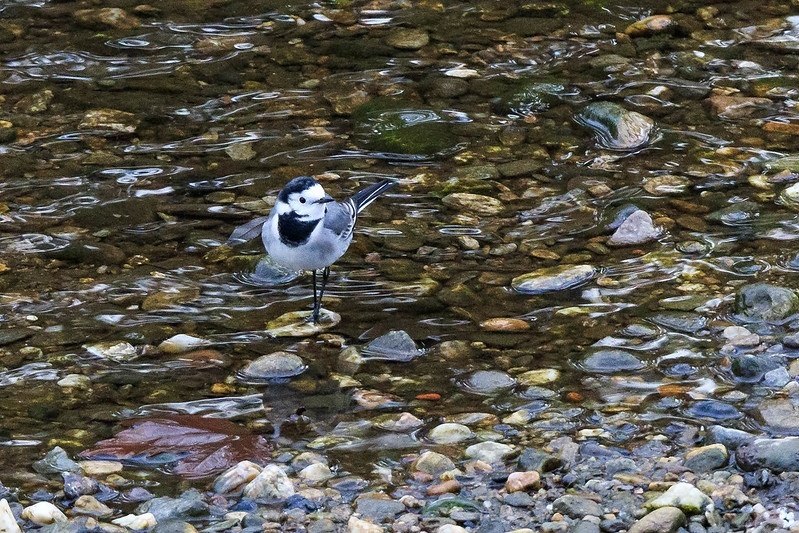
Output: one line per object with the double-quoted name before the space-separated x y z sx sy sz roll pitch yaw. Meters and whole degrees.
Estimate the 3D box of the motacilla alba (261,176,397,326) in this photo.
"motacilla alba" -0.879 -0.263 9.400 1.791 1.350 1.915 0 33 2
